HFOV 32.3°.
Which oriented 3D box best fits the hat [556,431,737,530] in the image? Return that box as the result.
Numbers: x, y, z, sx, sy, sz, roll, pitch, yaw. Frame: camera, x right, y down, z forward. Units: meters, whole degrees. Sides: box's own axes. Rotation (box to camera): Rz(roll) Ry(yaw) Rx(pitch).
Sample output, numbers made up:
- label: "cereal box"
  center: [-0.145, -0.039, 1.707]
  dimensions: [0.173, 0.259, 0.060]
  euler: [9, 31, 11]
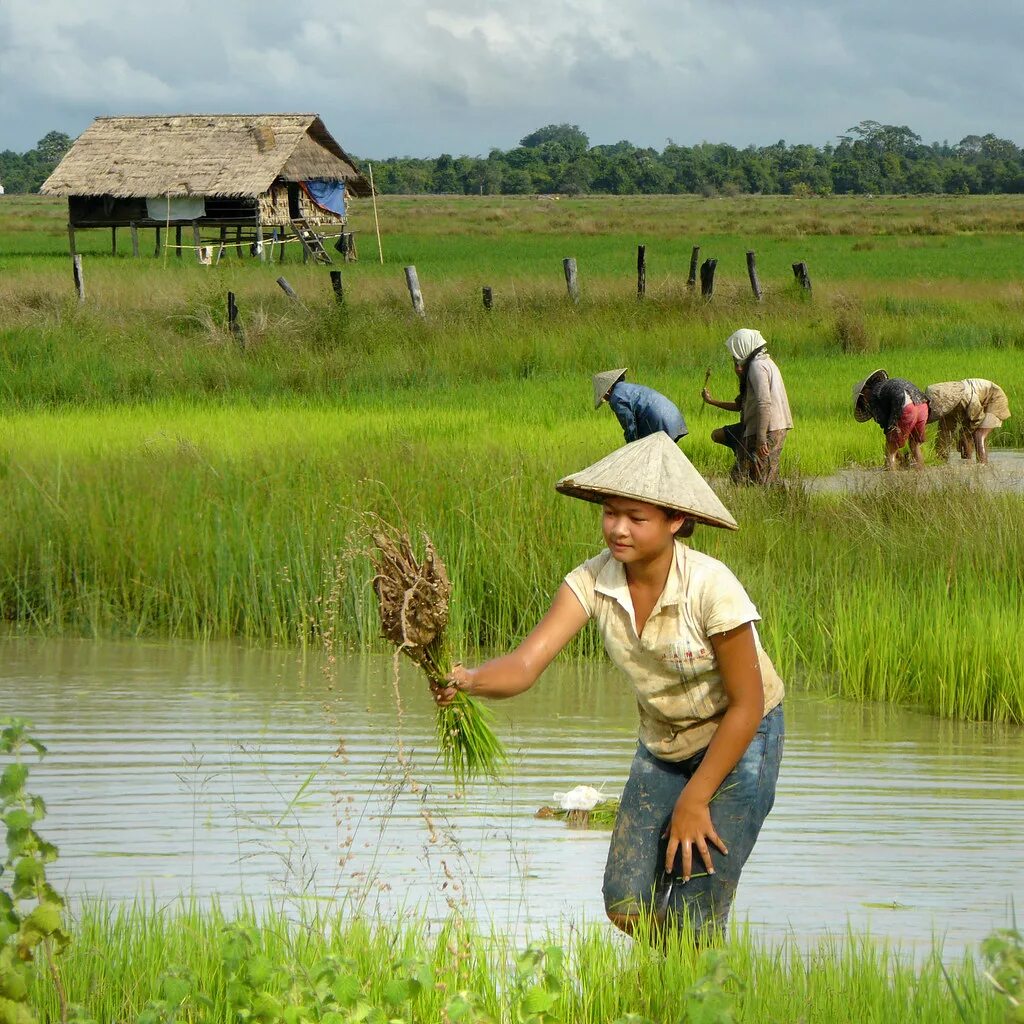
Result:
- label: "hat"
  center: [0.381, -0.093, 5.103]
  dimensions: [0.310, 0.180, 0.346]
  euler: [18, -10, 30]

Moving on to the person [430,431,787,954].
- label: "person"
  center: [0.396, 0.509, 5.158]
  dimensions: [0.778, 1.485, 0.518]
  euler: [2, 5, 11]

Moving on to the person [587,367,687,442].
- label: "person"
  center: [0.785, -0.651, 11.521]
  dimensions: [0.608, 0.576, 0.328]
  euler: [12, 30, 17]

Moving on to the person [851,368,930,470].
- label: "person"
  center: [3.038, -0.774, 14.449]
  dimensions: [0.445, 0.751, 0.840]
  euler: [-2, 7, -31]
